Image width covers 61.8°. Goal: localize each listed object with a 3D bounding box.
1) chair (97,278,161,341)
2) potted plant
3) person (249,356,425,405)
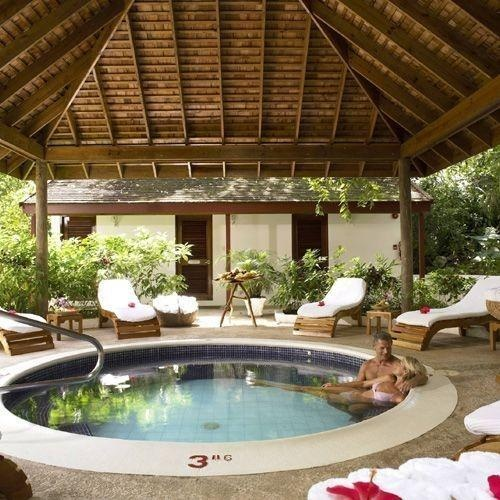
[{"bbox_3d":[-2.169,1.070,7.366,0.769,0.654,1.302,3,-3,-31],"label":"chair"},{"bbox_3d":[0.028,0.692,9.383,1.903,1.874,1.864,1,-6,-1],"label":"potted plant"},{"bbox_3d":[0.636,1.337,4.229,2.098,0.509,0.426,-2,39,12],"label":"person"}]
